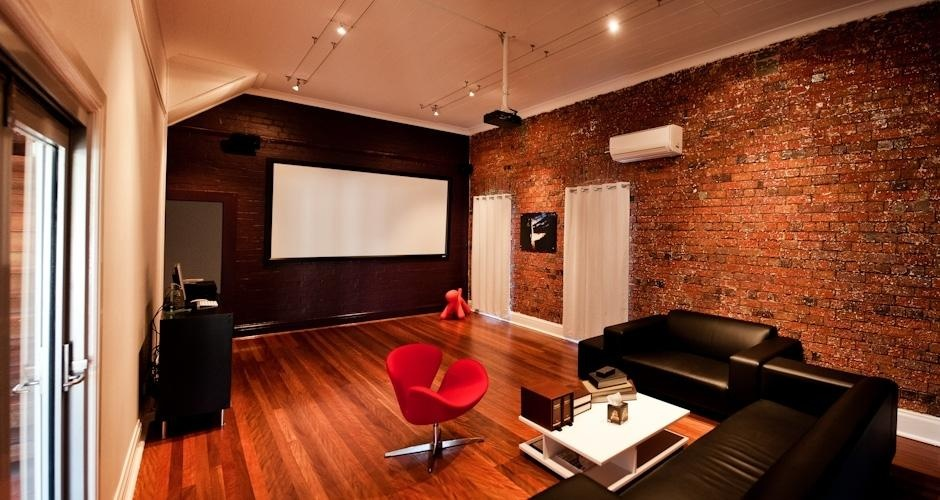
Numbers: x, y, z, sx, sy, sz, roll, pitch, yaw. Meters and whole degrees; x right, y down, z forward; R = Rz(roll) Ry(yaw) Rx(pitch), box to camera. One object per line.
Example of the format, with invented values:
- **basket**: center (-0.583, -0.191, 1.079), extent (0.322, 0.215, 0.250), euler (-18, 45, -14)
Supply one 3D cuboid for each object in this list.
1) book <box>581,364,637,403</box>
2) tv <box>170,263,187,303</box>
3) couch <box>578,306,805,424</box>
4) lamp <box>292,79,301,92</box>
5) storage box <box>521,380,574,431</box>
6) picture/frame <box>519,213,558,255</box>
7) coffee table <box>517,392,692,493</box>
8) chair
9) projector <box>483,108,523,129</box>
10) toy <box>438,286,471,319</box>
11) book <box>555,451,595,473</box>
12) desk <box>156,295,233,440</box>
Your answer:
- **book**: center (1.601, 1.594, 6.317), extent (0.476, 0.185, 0.455), euler (0, 3, 26)
- **tv**: center (-3.985, 0.454, 7.362), extent (0.163, 0.385, 0.421), euler (-9, 20, -23)
- **couch**: center (2.892, 1.473, 7.241), extent (1.394, 0.944, 2.441), euler (-11, 11, -42)
- **lamp**: center (-2.830, -2.697, 8.765), extent (0.130, 0.061, 0.226), euler (7, -8, -25)
- **storage box**: center (0.854, 1.775, 6.137), extent (0.516, 0.333, 0.500), euler (-1, 0, 44)
- **picture/frame**: center (1.223, -0.300, 9.662), extent (0.149, 0.698, 0.885), euler (-6, 5, -44)
- **coffee table**: center (1.556, 2.129, 5.946), extent (1.423, 0.319, 1.037), euler (-10, 13, -41)
- **chair**: center (-0.406, 1.761, 6.140), extent (1.184, 1.027, 1.107), euler (0, 3, 10)
- **projector**: center (0.463, -1.900, 7.614), extent (0.339, 0.260, 0.512), euler (0, 6, 42)
- **toy**: center (-0.328, 1.075, 10.641), extent (0.520, 0.545, 0.648), euler (-3, 5, 8)
- **book**: center (1.126, 2.391, 6.015), extent (0.274, 0.057, 0.287), euler (-2, 5, -38)
- **desk**: center (-3.344, 1.510, 6.542), extent (0.989, 1.481, 1.814), euler (0, 0, -33)
